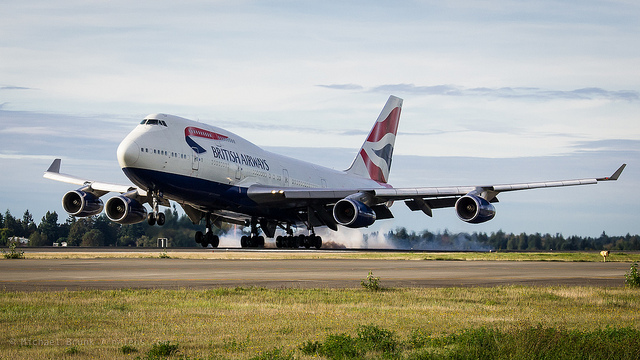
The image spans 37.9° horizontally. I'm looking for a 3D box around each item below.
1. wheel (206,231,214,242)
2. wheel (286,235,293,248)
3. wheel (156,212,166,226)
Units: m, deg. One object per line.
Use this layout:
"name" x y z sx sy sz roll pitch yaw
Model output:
"wheel" -7.546 3.842 64.306 0.820 0.557 0.170 -7 -14 20
"wheel" -2.298 4.614 70.415 0.849 1.060 0.901 0 3 0
"wheel" -10.001 2.444 59.146 0.508 1.007 1.454 0 10 -6
